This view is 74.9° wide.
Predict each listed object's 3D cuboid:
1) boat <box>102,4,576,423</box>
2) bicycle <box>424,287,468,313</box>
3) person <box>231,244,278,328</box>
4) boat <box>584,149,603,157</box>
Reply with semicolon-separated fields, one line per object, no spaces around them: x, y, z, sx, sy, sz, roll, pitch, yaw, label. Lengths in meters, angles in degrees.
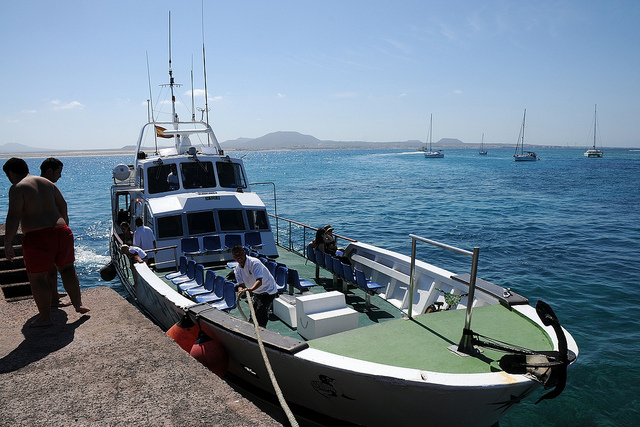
-1.152;0.325;10.389;6.807;6.656;12.023;-12;15;-33;boat
2.790;2.005;9.470;0.644;0.590;1.007;3;-6;-25;bicycle
-1.367;1.674;9.143;0.870;2.072;1.595;-7;13;-12;person
96.884;-21.445;148.422;3.688;3.213;9.580;1;13;23;boat
